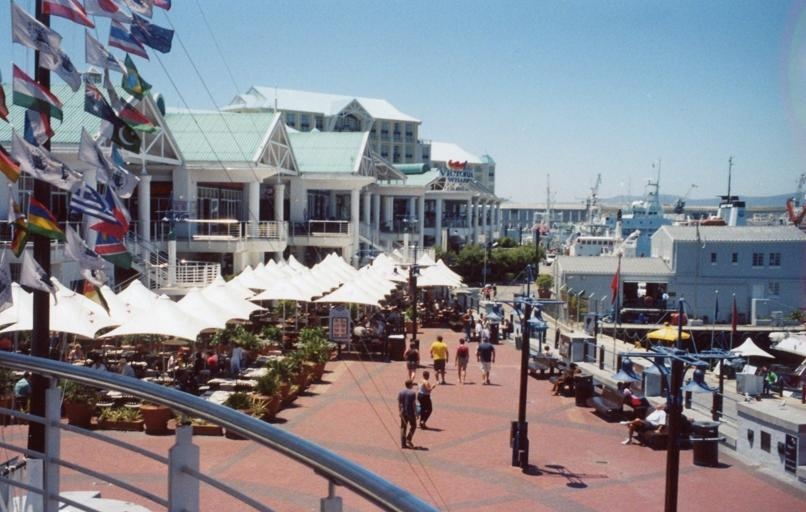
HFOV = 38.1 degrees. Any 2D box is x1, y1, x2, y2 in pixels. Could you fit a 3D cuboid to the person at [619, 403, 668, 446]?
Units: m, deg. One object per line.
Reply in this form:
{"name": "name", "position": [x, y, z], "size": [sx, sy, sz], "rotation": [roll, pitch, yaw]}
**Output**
{"name": "person", "position": [7.864, 5.596, 37.989], "size": [1.616, 1.055, 0.896], "rotation": [-17, -1, 10]}

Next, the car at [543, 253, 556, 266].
{"name": "car", "position": [14.938, 0.511, 119.606], "size": [1.124, 1.081, 1.927], "rotation": [-1, -4, 3]}
